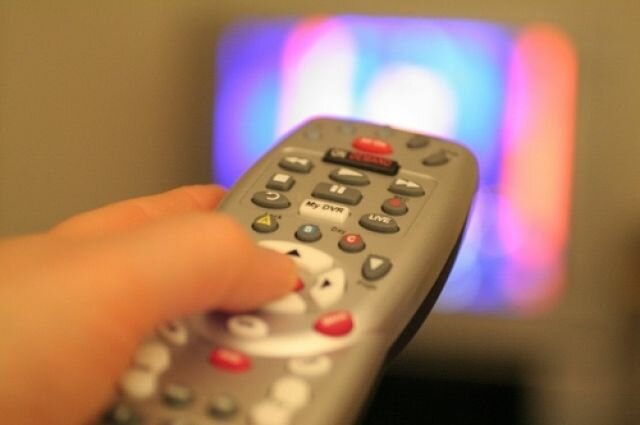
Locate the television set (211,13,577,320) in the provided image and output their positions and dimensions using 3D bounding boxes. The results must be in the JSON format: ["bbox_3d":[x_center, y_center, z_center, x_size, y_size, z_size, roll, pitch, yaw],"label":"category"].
[{"bbox_3d":[0.075,-0.038,0.467,0.276,0.218,0.030,2,0,10],"label":"television set"}]

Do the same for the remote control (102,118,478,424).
[{"bbox_3d":[0.010,-0.008,0.364,0.136,0.075,0.288,18,46,16],"label":"remote control"}]
